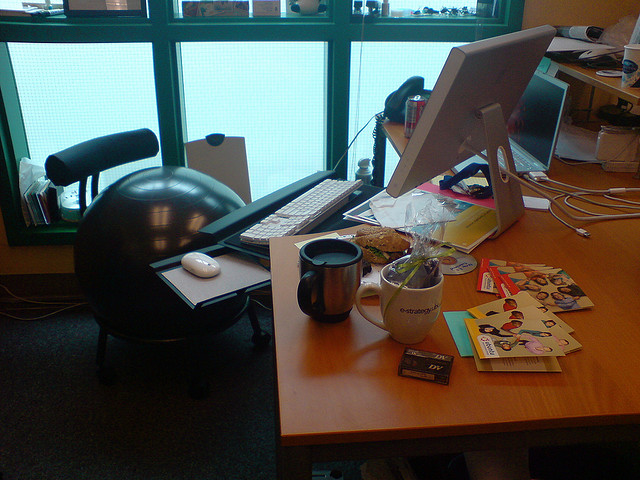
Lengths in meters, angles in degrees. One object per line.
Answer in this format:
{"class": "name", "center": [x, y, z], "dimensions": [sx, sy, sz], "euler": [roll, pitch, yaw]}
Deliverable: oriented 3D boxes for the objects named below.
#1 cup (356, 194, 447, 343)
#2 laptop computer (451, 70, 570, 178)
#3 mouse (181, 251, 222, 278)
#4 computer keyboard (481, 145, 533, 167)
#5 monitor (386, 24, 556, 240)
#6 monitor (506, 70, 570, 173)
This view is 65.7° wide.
{"class": "cup", "center": [0.184, 0.121, 1.184], "dimensions": [0.145, 0.229, 0.248], "euler": [5, -5, -39]}
{"class": "laptop computer", "center": [0.630, -0.376, 1.626], "dimensions": [0.388, 0.297, 0.422], "euler": [-7, 32, 0]}
{"class": "mouse", "center": [-0.327, 0.065, 1.381], "dimensions": [0.111, 0.040, 0.074], "euler": [18, 34, 28]}
{"class": "computer keyboard", "center": [0.627, -0.281, 1.658], "dimensions": [0.108, 0.015, 0.222], "euler": [-6, 36, -1]}
{"class": "monitor", "center": [0.511, -0.336, 1.601], "dimensions": [1.134, 0.708, 0.135], "euler": [-23, 38, -35]}
{"class": "monitor", "center": [0.868, -0.490, 1.970], "dimensions": [0.143, 0.442, 0.427], "euler": [9, 27, 10]}
